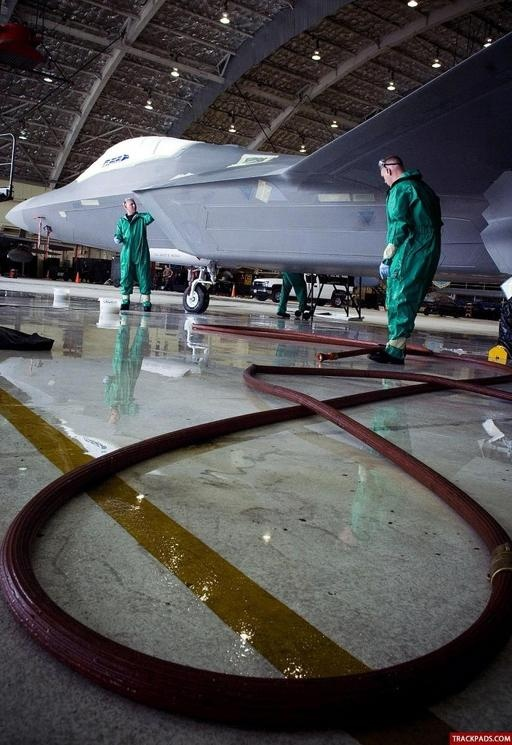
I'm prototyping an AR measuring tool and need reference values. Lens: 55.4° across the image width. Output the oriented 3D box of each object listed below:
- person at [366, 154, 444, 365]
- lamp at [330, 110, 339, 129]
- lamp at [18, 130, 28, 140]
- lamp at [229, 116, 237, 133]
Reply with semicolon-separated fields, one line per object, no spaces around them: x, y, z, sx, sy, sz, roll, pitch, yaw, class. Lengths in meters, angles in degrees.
1.268;-0.868;4.032;0.524;1.557;0.426;7;10;-3;person
4.440;-14.212;27.593;0.398;0.353;0.365;1;1;-10;lamp
-12.790;-13.014;26.547;0.575;0.485;0.125;1;1;-3;lamp
-1.325;-13.989;27.485;0.353;0.482;0.338;9;-12;-33;lamp
